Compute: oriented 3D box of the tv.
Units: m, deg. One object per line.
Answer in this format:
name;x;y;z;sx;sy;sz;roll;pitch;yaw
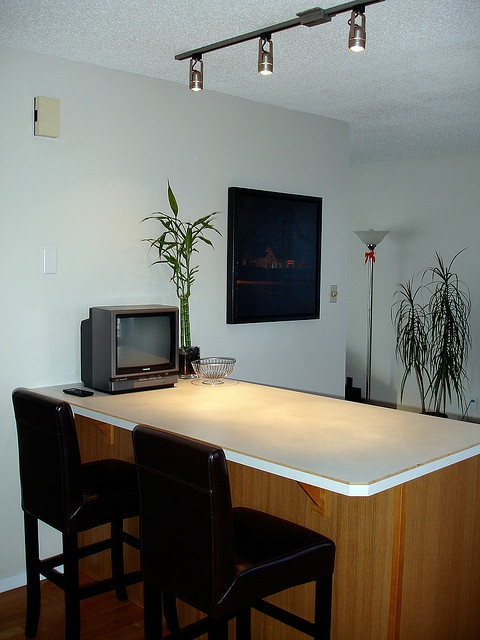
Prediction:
tv;-0.536;0.141;2.391;0.330;0.459;0.310;-2;2;-43
